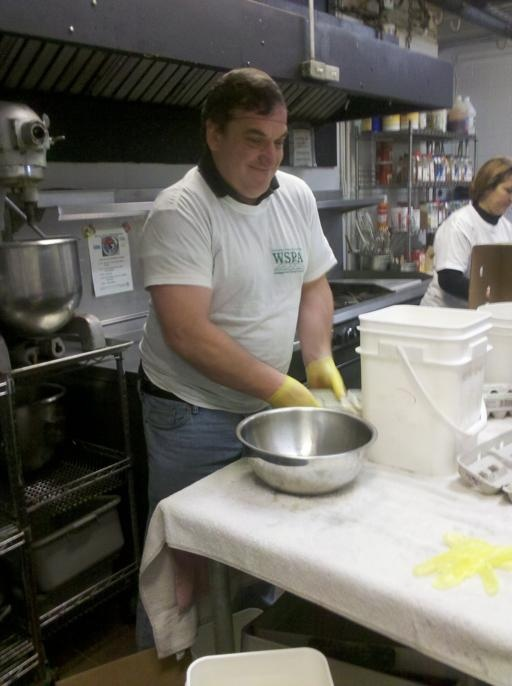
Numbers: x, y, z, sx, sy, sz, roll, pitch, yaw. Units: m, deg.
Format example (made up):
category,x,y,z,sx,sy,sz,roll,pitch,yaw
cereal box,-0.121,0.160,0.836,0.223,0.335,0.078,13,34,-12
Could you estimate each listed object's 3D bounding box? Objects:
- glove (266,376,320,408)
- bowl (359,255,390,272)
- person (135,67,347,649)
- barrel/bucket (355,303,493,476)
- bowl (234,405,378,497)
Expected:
category,x,y,z,sx,sy,sz,roll,pitch,yaw
glove,0.081,0.107,1.175,0.098,0.064,0.107,-8,10,-13
bowl,0.893,-0.594,4.123,0.155,0.126,0.165,-1,8,0
person,-0.062,0.065,1.455,0.602,1.416,0.537,-3,9,14
barrel/bucket,0.336,0.083,1.098,0.231,0.301,0.222,-5,9,1
bowl,0.094,0.204,1.001,0.250,0.112,0.252,-6,9,1
